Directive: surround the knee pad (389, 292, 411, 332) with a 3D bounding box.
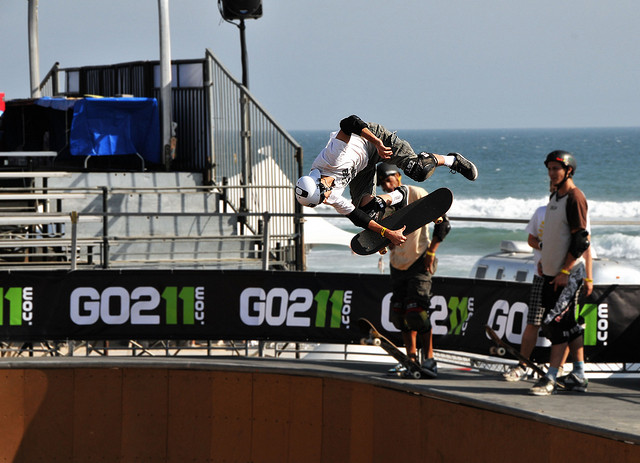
[{"bbox_3d":[1.235,1.205,21.725,0.360,0.497,0.186,6,3,43],"label":"knee pad"}]

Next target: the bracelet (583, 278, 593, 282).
[{"bbox_3d":[3.983,0.698,21.181,0.154,0.058,0.088,-1,7,-33],"label":"bracelet"}]

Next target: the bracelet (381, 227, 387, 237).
[{"bbox_3d":[0.949,-0.021,21.407,0.082,0.118,0.073,3,6,3],"label":"bracelet"}]

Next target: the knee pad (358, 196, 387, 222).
[{"bbox_3d":[0.789,-0.358,21.518,0.391,0.177,0.319,7,15,43],"label":"knee pad"}]

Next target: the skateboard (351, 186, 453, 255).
[{"bbox_3d":[1.187,-0.201,21.546,1.731,0.442,0.261,-35,-10,11],"label":"skateboard"}]

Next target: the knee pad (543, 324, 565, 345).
[{"bbox_3d":[3.451,1.489,21.049,0.202,0.262,0.148,-40,-6,-17],"label":"knee pad"}]

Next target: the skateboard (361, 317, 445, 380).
[{"bbox_3d":[1.275,1.751,21.778,1.172,0.286,0.200,38,38,20],"label":"skateboard"}]

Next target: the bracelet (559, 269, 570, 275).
[{"bbox_3d":[3.565,0.564,20.883,0.138,0.081,0.075,4,6,7],"label":"bracelet"}]
